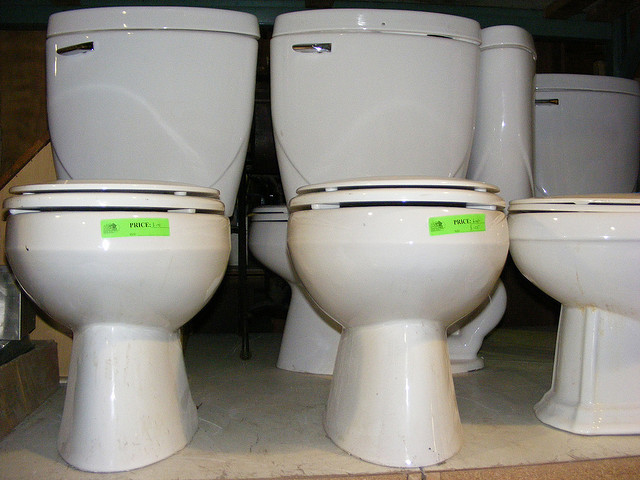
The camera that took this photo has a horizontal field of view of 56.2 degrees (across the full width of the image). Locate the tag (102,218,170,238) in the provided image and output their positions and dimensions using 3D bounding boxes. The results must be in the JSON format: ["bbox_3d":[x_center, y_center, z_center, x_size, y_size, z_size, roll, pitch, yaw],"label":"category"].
[{"bbox_3d":[-0.384,-0.028,1.247,0.130,0.034,0.015,-3,9,-17],"label":"tag"}]

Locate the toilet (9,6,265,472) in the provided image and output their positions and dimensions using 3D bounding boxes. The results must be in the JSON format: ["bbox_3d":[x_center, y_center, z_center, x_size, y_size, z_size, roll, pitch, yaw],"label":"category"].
[{"bbox_3d":[-0.496,-0.066,1.508,0.587,1.089,0.579,1,8,6],"label":"toilet"}]

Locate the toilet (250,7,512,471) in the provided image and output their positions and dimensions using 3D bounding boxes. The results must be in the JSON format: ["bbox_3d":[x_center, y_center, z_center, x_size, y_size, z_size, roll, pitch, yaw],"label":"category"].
[{"bbox_3d":[0.185,-0.083,1.593,0.636,1.088,0.700,-1,8,-5],"label":"toilet"}]
